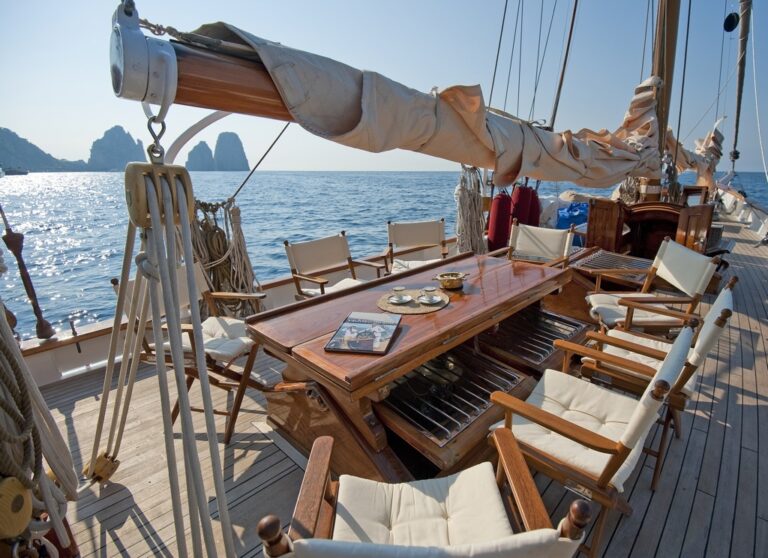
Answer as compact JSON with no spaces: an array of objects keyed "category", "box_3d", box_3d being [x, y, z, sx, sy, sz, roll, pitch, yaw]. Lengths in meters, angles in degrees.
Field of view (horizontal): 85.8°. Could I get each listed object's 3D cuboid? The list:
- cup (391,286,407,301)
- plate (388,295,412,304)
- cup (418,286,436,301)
[{"category":"cup","box_3d":[0.102,0.096,2.765,0.078,0.066,0.083,-4,-5,0]},{"category":"plate","box_3d":[0.108,0.137,2.746,0.089,0.019,0.087,-1,30,6]},{"category":"cup","box_3d":[0.293,0.089,2.782,0.088,0.073,0.101,-19,17,-36]}]
